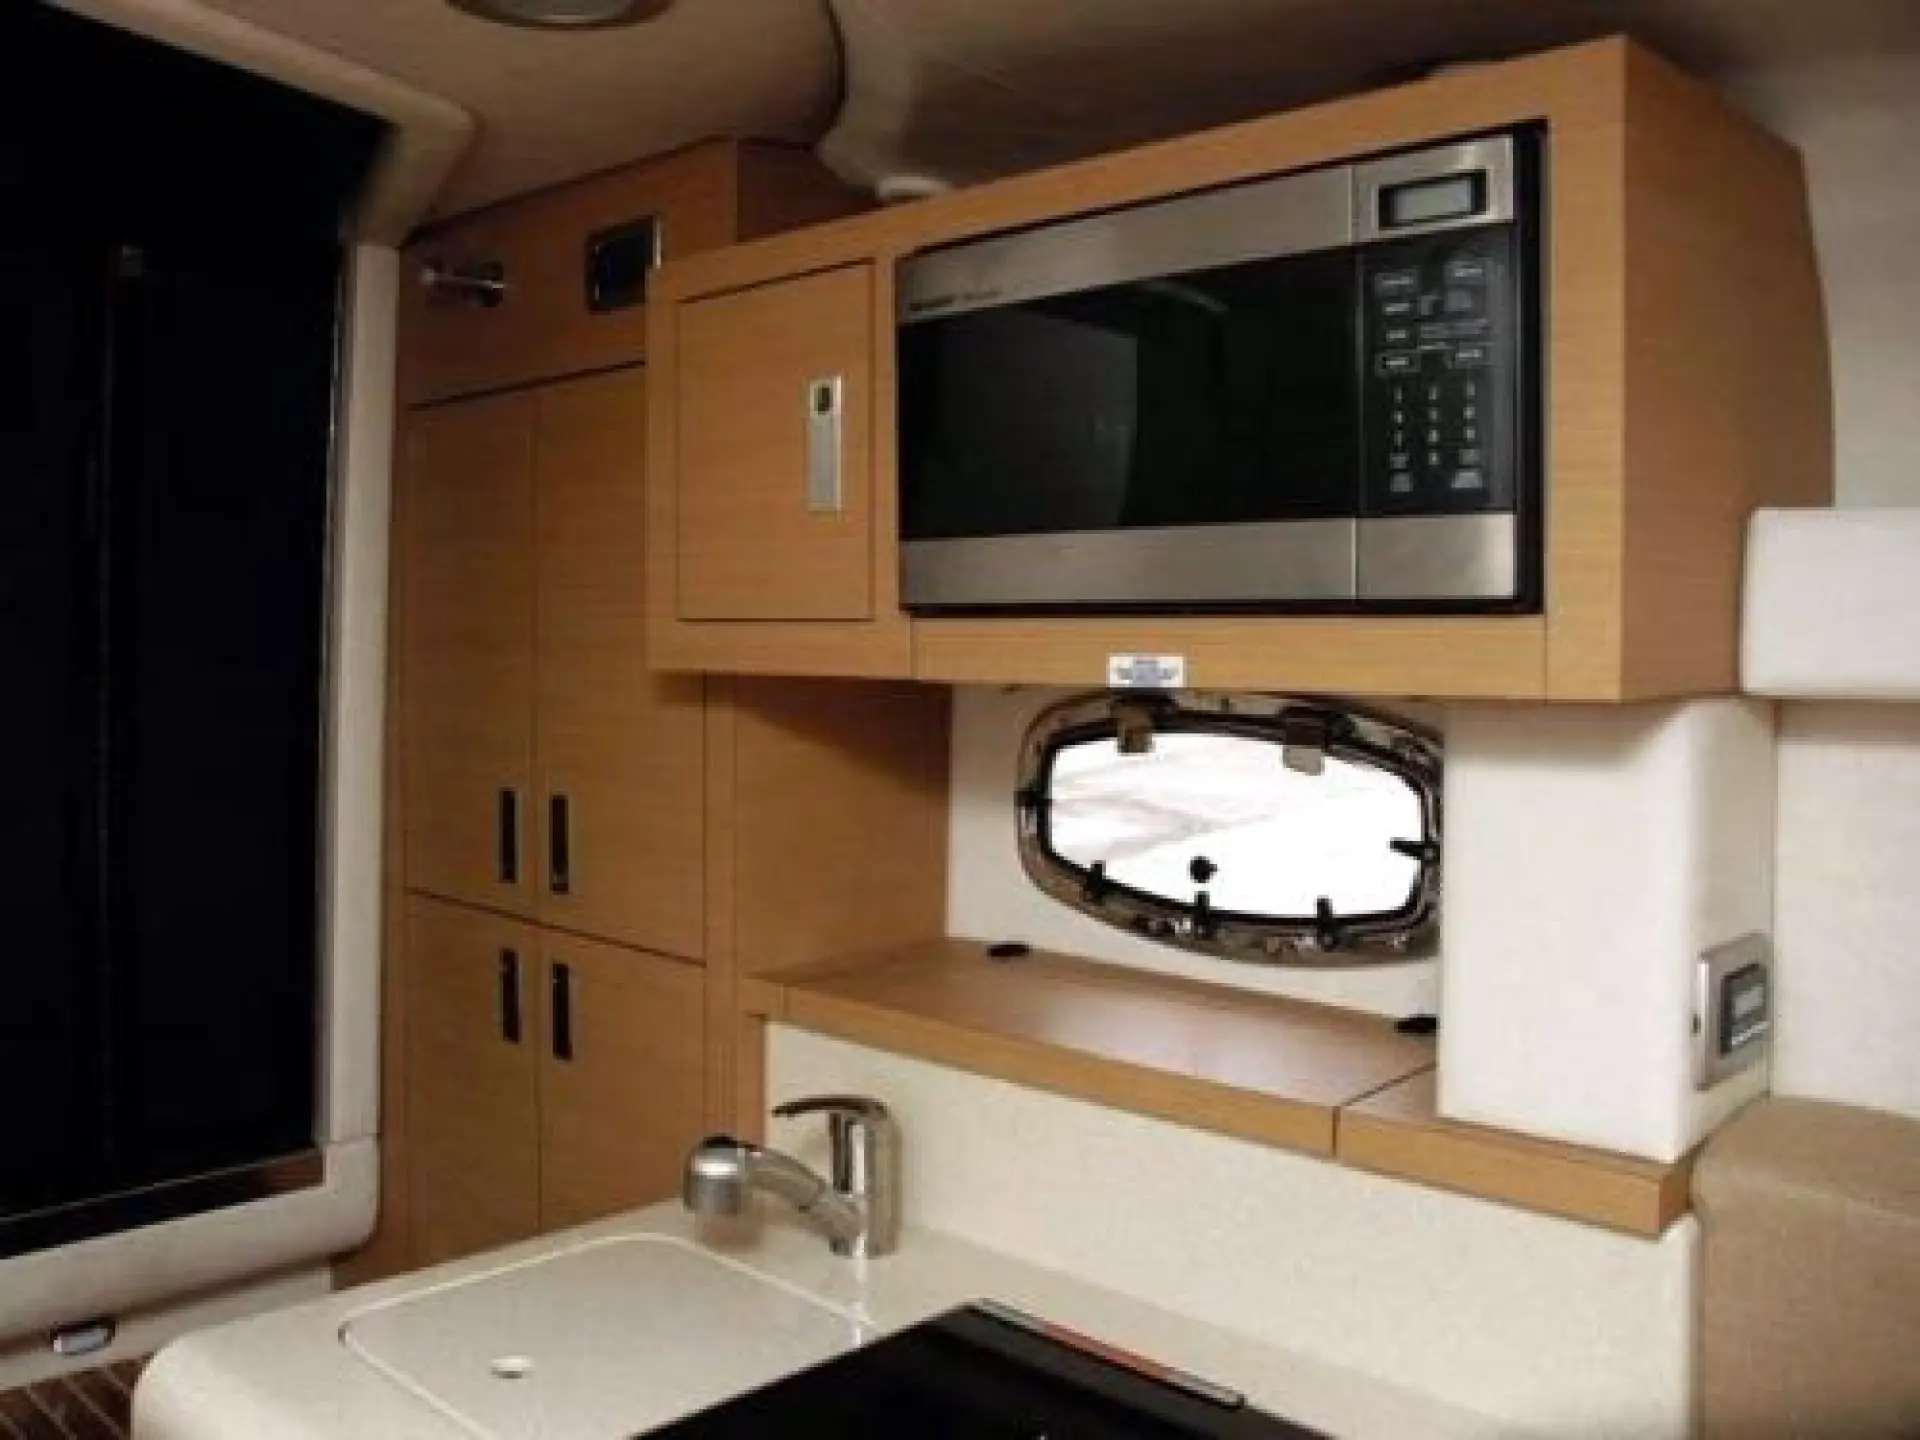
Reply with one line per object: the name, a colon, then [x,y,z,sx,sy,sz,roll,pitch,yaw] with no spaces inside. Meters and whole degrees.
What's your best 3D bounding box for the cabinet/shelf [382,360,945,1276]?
cabinet/shelf: [-0.623,0.262,2.705,1.136,1.699,0.413,4,9,33]
